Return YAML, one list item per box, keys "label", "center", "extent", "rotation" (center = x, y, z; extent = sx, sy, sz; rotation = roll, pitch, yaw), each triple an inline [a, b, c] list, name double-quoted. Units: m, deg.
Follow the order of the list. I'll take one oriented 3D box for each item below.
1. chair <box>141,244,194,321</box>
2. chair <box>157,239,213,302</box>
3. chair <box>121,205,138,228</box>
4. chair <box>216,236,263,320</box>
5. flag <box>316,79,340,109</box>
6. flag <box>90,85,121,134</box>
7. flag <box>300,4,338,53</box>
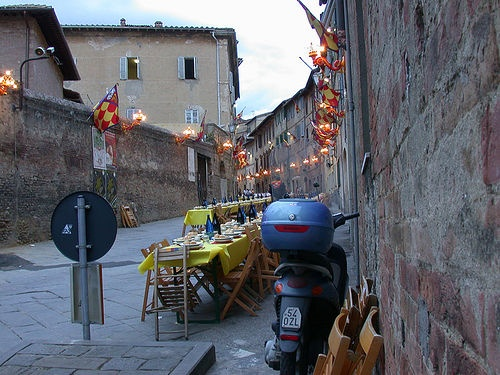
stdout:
- label: "chair"
  center: [-0.941, 1.156, 6.083]
  extent: [0.485, 0.836, 0.527]
  rotation: [13, -10, -32]
- label: "chair"
  center: [-0.763, 1.038, 6.096]
  extent: [0.499, 0.672, 0.498]
  rotation: [-3, -4, -34]
- label: "chair"
  center: [-3.988, 0.989, 17.664]
  extent: [0.502, 0.522, 0.648]
  rotation: [1, -1, 7]
- label: "chair"
  center: [-0.196, 0.891, 6.200]
  extent: [0.580, 0.985, 0.777]
  rotation: [3, -36, 2]
- label: "flag"
  center: [1.953, -2.364, 13.168]
  extent: [0.459, 0.650, 1.148]
  rotation: [1, -1, -1]
- label: "flag"
  center: [-4.370, -2.370, 16.169]
  extent: [0.772, 1.021, 1.361]
  rotation: [1, -1, -14]
- label: "flag"
  center: [1.155, -2.570, 8.774]
  extent: [0.584, 0.745, 0.675]
  rotation: [1, 0, 8]
